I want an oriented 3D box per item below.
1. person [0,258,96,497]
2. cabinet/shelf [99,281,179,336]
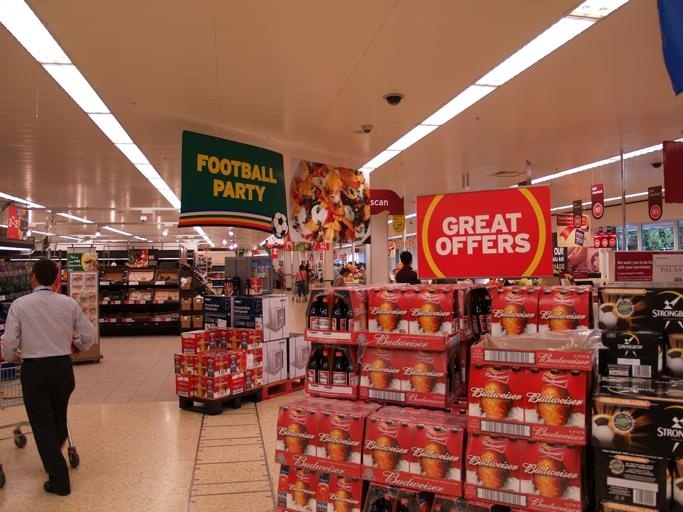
[{"bbox_3d":[-2.672,1.086,4.779,0.545,2.107,0.605,0,3,16],"label":"person"},{"bbox_3d":[-5.181,1.204,13.429,2.308,1.485,0.822,-3,13,17],"label":"cabinet/shelf"}]
